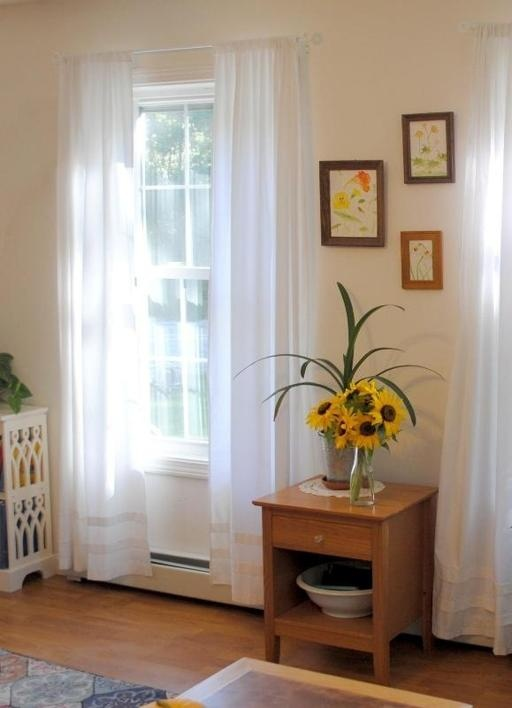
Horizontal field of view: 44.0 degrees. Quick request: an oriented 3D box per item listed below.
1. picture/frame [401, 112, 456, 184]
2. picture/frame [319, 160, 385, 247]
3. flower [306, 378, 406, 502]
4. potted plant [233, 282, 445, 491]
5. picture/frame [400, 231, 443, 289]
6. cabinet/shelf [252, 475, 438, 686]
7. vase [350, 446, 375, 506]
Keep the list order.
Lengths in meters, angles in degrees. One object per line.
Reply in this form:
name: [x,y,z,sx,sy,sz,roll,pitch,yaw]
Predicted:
picture/frame: [0.575,-0.684,2.111,0.164,0.264,0.023,0,-15,8]
picture/frame: [0.348,-0.537,2.249,0.229,0.345,0.024,0,-16,3]
flower: [0.336,0.210,2.007,0.282,0.399,0.352,2,3,20]
potted plant: [0.310,0.103,2.062,0.559,0.589,0.530,-7,8,-39]
picture/frame: [0.563,-0.319,2.159,0.139,0.230,0.016,1,-21,9]
cabinet/shelf: [0.260,0.690,2.025,0.398,0.579,0.409,2,8,26]
vase: [0.310,0.356,1.850,0.068,0.173,0.077,-1,-2,8]
